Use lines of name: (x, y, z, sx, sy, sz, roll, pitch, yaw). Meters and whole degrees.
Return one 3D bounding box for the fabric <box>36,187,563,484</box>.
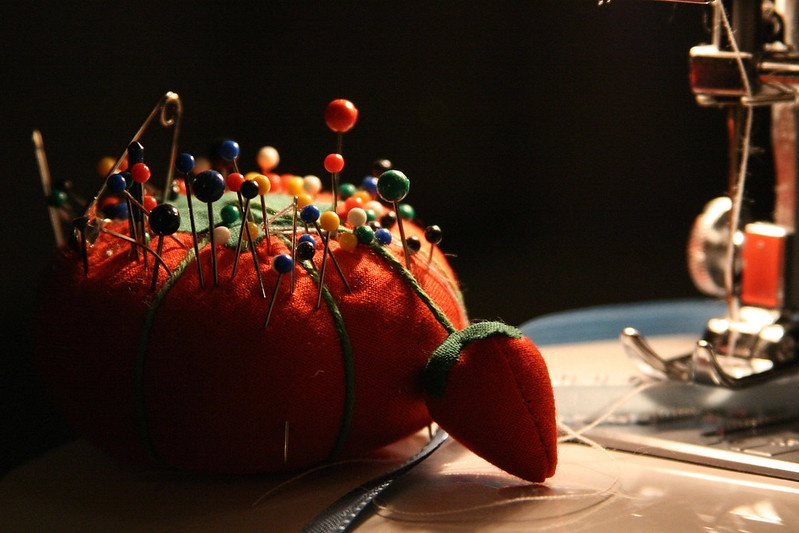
fabric: (-0.207, 0.111, 1.552, 0.971, 0.371, 0.720, 6, 15, 16)
